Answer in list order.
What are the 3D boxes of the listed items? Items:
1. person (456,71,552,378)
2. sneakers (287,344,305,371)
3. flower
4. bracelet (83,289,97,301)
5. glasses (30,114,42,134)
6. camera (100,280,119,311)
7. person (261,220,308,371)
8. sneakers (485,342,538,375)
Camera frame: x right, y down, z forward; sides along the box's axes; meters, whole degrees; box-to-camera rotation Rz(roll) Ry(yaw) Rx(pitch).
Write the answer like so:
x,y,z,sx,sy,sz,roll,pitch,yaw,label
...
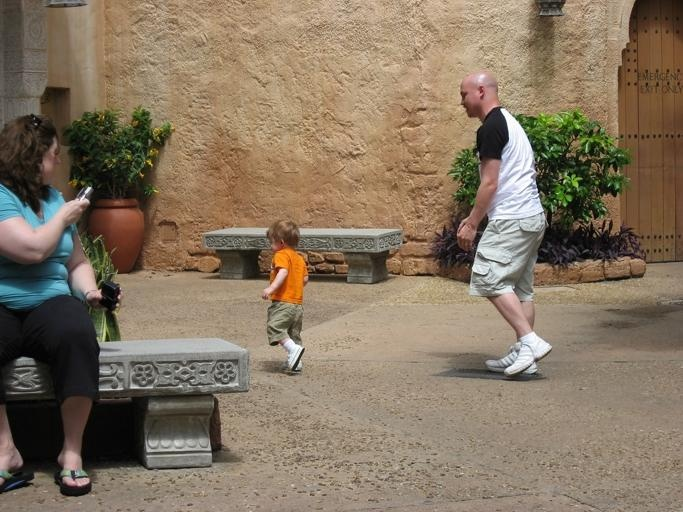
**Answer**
x,y,z,sx,sy,sz,roll,pitch,yaw,label
1.123,-0.230,6.480,0.624,2.120,0.519,-1,5,6,person
-0.334,0.735,6.730,0.107,0.220,0.097,8,40,7,sneakers
-2.942,-1.186,12.417,1.197,1.447,1.619,0,5,42,flower
-1.359,0.213,5.024,0.077,0.052,0.071,0,-3,-15,bracelet
-1.640,-0.713,4.964,0.068,0.074,0.043,13,-8,-17,glasses
-1.248,0.214,4.975,0.096,0.152,0.085,29,37,20,camera
-0.418,0.287,6.899,0.307,1.086,0.517,-1,5,-2,person
1.156,0.729,6.575,0.460,0.267,0.169,2,4,32,sneakers
